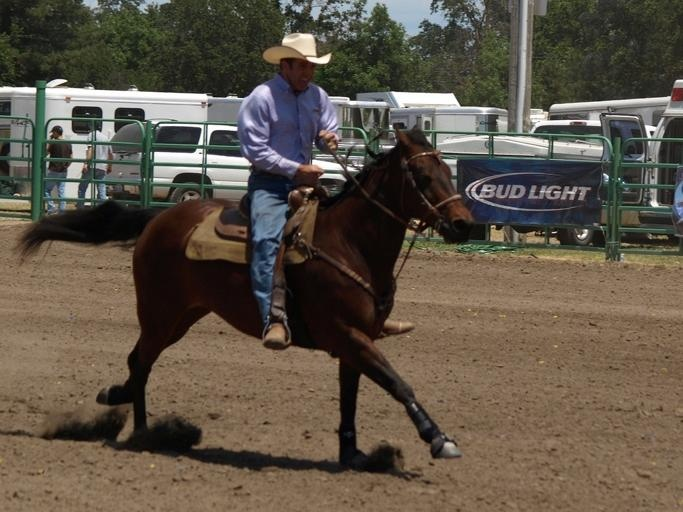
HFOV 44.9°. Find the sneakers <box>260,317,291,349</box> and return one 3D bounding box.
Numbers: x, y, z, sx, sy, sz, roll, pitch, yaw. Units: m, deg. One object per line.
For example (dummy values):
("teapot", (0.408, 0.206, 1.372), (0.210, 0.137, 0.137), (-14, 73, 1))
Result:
("sneakers", (-0.499, 0.579, 6.363), (0.308, 0.243, 0.158), (3, -36, -9))

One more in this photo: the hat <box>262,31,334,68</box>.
("hat", (-0.435, -1.690, 6.682), (0.380, 0.135, 0.395), (4, -4, -43))

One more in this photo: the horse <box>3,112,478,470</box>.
("horse", (-0.918, 0.356, 7.457), (5.114, 2.477, 1.148), (0, -1, 38))

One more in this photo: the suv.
("suv", (-2.135, -1.880, 16.800), (5.268, 1.772, 2.215), (-1, 5, -4))
